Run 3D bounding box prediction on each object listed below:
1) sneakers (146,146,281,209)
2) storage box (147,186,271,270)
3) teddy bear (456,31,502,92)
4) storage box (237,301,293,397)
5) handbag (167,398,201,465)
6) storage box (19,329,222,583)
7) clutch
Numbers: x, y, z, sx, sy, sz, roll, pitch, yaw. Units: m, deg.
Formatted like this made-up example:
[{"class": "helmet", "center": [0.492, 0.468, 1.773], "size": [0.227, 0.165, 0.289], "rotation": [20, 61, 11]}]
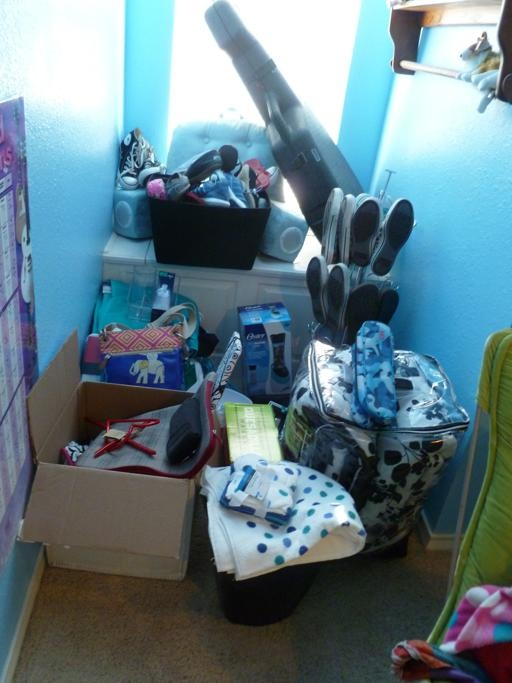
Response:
[{"class": "sneakers", "center": [-0.139, -0.657, 1.974], "size": [0.502, 0.182, 0.300], "rotation": [-14, 49, -25]}, {"class": "storage box", "center": [-0.186, -0.423, 1.933], "size": [0.387, 0.249, 0.270], "rotation": [1, 43, -10]}, {"class": "teddy bear", "center": [0.636, -0.790, 1.342], "size": [0.133, 0.142, 0.059], "rotation": [8, 7, 27]}, {"class": "storage box", "center": [0.039, 0.033, 1.952], "size": [0.201, 0.385, 0.195], "rotation": [-7, 32, -3]}, {"class": "handbag", "center": [-0.198, 0.258, 1.363], "size": [0.067, 0.056, 0.159], "rotation": [-22, 34, -1]}, {"class": "storage box", "center": [-0.359, 0.304, 1.355], "size": [0.394, 0.526, 0.553], "rotation": [5, 31, -8]}, {"class": "clutch", "center": [0.315, 0.089, 1.284], "size": [0.098, 0.091, 0.291], "rotation": [5, 52, 4]}]
